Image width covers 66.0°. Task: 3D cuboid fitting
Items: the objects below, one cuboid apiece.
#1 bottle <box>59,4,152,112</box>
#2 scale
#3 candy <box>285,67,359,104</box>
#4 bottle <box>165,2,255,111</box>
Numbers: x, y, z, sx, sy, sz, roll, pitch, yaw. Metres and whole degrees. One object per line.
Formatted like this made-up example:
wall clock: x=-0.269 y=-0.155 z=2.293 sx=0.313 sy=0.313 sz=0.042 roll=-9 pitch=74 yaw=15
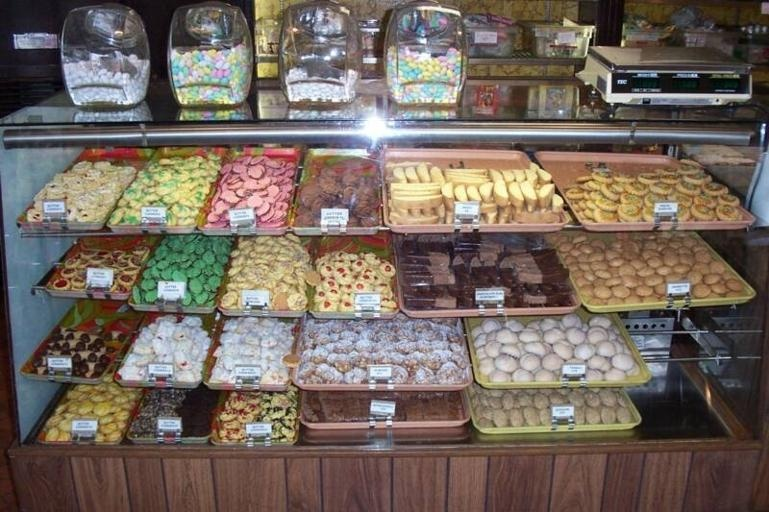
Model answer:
bottle: x=-1.258 y=-0.899 z=2.669 sx=0.345 sy=0.427 sz=0.260 roll=-1 pitch=27 yaw=-2
scale: x=1.307 y=-0.828 z=2.726 sx=0.746 sy=0.229 sz=0.341 roll=2 pitch=25 yaw=5
candy: x=-0.295 y=-0.767 z=2.670 sx=0.260 sy=0.076 sz=0.174 roll=0 pitch=21 yaw=-1
bottle: x=-0.788 y=-0.909 z=2.748 sx=0.357 sy=0.482 sz=0.258 roll=-1 pitch=27 yaw=6
